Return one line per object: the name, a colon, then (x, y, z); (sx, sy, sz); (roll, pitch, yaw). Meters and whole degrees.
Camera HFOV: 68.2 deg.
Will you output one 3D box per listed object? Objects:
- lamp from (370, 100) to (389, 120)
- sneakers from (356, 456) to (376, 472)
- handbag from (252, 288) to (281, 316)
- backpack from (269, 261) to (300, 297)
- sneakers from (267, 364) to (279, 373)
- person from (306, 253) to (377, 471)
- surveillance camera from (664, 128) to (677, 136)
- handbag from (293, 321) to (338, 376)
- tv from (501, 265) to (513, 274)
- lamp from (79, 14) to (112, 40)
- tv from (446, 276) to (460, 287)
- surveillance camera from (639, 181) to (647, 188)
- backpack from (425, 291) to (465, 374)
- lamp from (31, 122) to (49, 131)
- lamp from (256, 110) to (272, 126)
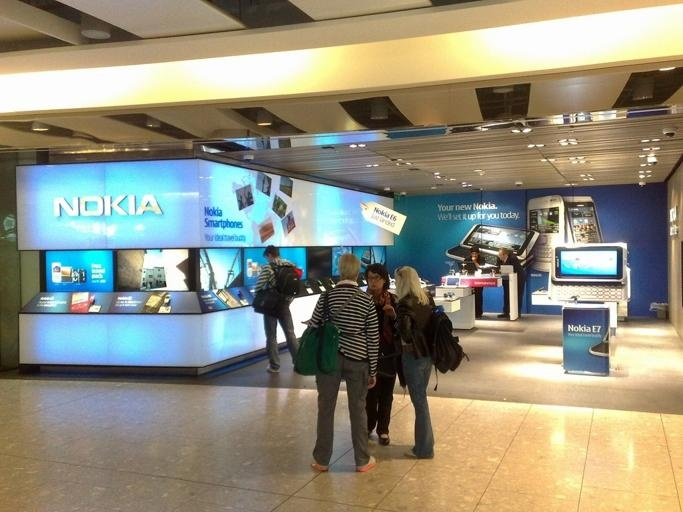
lamp: (0.299, -1.143, 3.969); (0.147, 0.132, 0.135); (-1, 2, 4)
sneakers: (0.232, 1.898, 4.613); (0.082, 0.082, 0.191); (4, 10, 27)
handbag: (-1.184, 0.748, 8.031); (0.430, 0.470, 0.249); (-1, 2, -10)
backpack: (-0.883, 0.355, 8.252); (0.569, 0.546, 0.437); (1, 4, 22)
sneakers: (-1.091, 1.823, 8.197); (0.170, 0.153, 0.095); (9, -2, 40)
person: (0.022, 0.965, 4.534); (0.628, 1.944, 0.394); (-1, 2, -3)
surveillance camera: (4.582, -1.733, 7.043); (0.119, 0.060, 0.115); (-2, 2, -35)
handbag: (-0.218, 0.811, 4.433); (0.394, 0.448, 0.265); (-1, 2, 0)
tv: (4.451, 0.388, 13.603); (0.311, 0.190, 0.215); (1, -13, 11)
lamp: (-1.819, -1.658, 3.742); (0.190, 0.130, 0.187); (-1, -3, 27)
tv: (2.805, 0.638, 12.702); (0.367, 0.220, 0.190); (0, -7, 6)
surveillance camera: (8.141, -1.921, 13.665); (0.161, 0.102, 0.137); (0, -3, -4)
backpack: (0.945, 0.782, 4.762); (0.327, 0.533, 0.388); (-11, 15, -14)
lamp: (-2.706, -1.146, 4.519); (0.094, 0.056, 0.094); (-1, -2, 32)
lamp: (-0.639, -1.140, 4.196); (0.132, 0.114, 0.114); (-2, 2, -16)
